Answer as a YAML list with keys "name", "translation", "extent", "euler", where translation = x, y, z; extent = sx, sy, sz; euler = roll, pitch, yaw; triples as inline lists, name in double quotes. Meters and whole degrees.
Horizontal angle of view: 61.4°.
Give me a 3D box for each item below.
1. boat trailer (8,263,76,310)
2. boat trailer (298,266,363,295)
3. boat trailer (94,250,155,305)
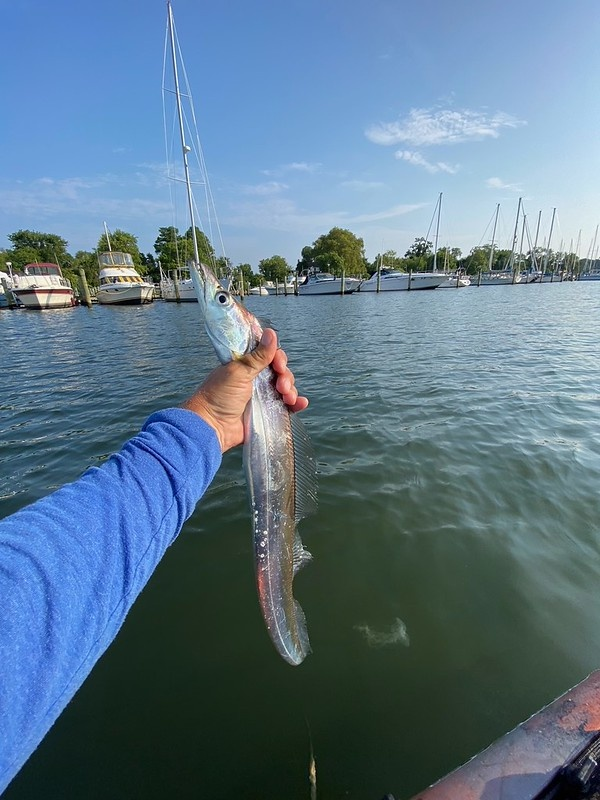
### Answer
- name: "boat trailer"
  translation: [-16.248, -7.140, 31.474]
  extent: [2.186, 2.955, 7.262]
  euler: [-8, 19, -22]
- name: "boat trailer"
  translation: [2.013, -10.148, 44.164]
  extent: [7.344, 2.490, 2.401]
  euler: [9, 19, 37]
- name: "boat trailer"
  translation: [-12.864, -8.497, 35.551]
  extent: [2.816, 3.556, 8.851]
  euler: [-13, 14, -35]
